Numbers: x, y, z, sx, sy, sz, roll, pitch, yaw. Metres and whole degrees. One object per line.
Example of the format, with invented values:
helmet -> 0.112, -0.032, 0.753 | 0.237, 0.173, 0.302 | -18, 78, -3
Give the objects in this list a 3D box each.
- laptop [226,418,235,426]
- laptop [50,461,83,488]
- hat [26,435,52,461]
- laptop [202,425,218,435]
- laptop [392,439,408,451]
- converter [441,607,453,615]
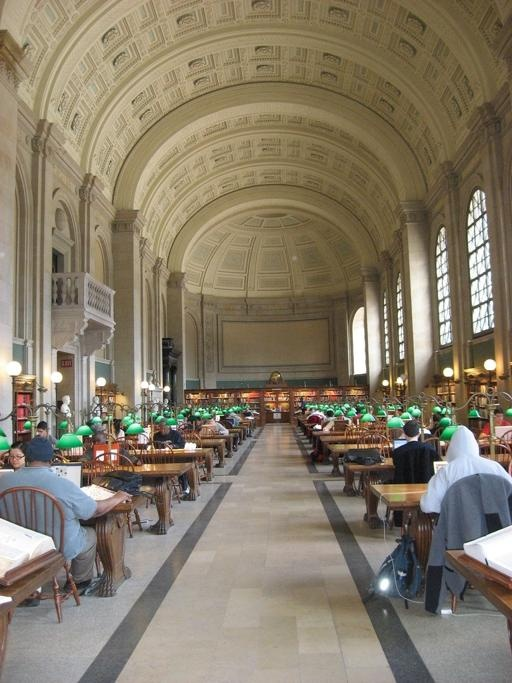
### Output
laptop -> -0.881, 2.882, 17.498 | 0.276, 0.284, 0.288 | 1, -3, 5
laptop -> -1.497, 1.055, 3.930 | 0.317, 0.189, 0.310 | 2, -9, -1
hat -> -1.496, 0.734, 3.407 | 0.139, 0.177, 0.191 | 1, -3, 2
laptop -> -1.286, 2.395, 13.152 | 0.272, 0.219, 0.284 | 0, -3, 6
laptop -> 1.613, 1.130, 5.420 | 0.196, 0.143, 0.148 | 1, -9, 3
converter -> 1.239, 1.742, 3.151 | 0.072, 0.019, 0.070 | -1, -1, 6
